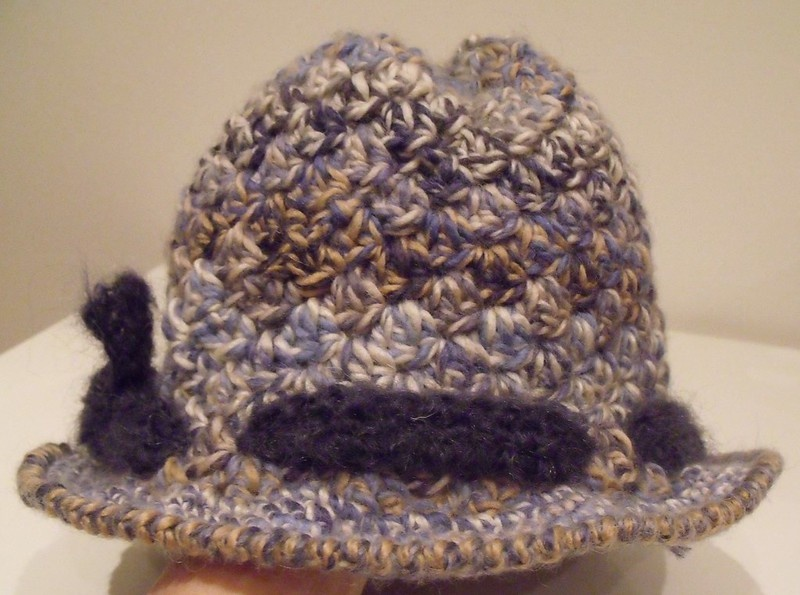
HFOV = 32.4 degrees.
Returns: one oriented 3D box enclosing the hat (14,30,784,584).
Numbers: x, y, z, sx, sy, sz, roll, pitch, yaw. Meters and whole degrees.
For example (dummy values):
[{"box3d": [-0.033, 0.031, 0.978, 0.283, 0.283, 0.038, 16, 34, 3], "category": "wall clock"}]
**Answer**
[{"box3d": [0.069, -0.030, 2.228, 1.043, 0.727, 1.144, 3, 5, 30], "category": "hat"}]
